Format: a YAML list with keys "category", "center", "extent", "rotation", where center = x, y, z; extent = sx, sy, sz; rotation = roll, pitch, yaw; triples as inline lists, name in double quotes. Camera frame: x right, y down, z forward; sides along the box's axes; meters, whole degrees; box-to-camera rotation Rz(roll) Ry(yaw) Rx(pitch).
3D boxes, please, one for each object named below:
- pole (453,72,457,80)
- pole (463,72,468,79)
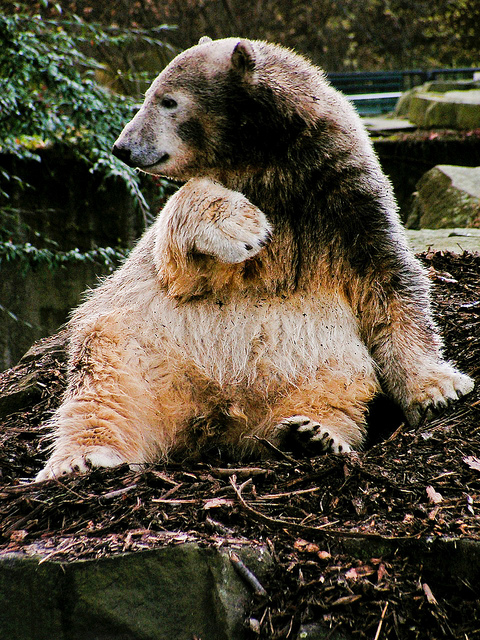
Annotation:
- category: "pole"
  center: [1.787, -2.020, 8.458]
  extent: [0.049, 0.048, 0.044]
  rotation: [-1, -4, 0]
- category: "pole"
  center: [1.820, -1.973, 8.240]
  extent: [0.033, 0.030, 0.056]
  rotation: [1, 8, -3]
